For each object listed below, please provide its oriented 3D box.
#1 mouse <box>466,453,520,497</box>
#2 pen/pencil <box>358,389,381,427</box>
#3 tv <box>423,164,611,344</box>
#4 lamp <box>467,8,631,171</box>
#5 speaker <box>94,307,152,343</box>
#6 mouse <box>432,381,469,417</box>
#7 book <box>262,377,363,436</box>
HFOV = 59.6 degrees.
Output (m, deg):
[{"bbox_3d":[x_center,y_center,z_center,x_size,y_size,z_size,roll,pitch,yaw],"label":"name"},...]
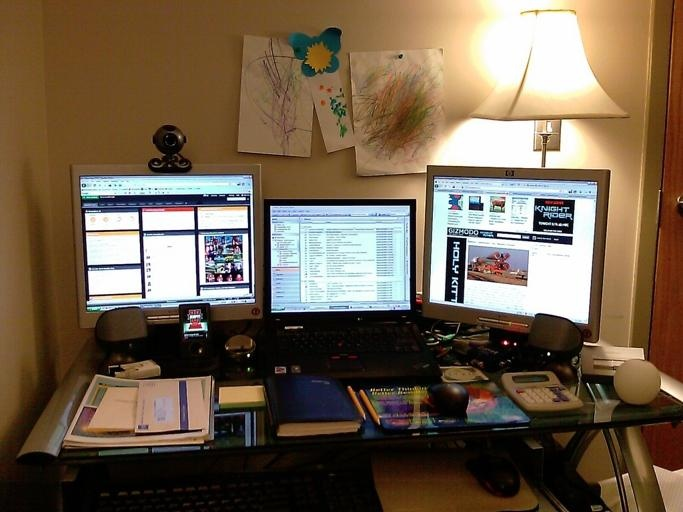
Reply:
[{"bbox_3d":[0.427,0.587,1.649,0.113,0.055,0.189,-23,11,-14],"label":"mouse"},{"bbox_3d":[0.070,0.389,1.532,0.017,0.017,0.171,23,10,-18],"label":"pen/pencil"},{"bbox_3d":[0.516,-0.014,1.781,0.562,0.494,0.045,3,7,17],"label":"tv"},{"bbox_3d":[0.627,-0.585,1.819,0.454,0.338,0.143,0,9,10],"label":"lamp"},{"bbox_3d":[-0.625,0.200,1.754,0.134,0.097,0.141,1,14,-2],"label":"speaker"},{"bbox_3d":[0.267,0.360,1.526,0.084,0.058,0.075,-2,24,-10],"label":"mouse"},{"bbox_3d":[-0.076,0.374,1.529,0.230,0.086,0.228,-3,9,-9],"label":"book"}]
